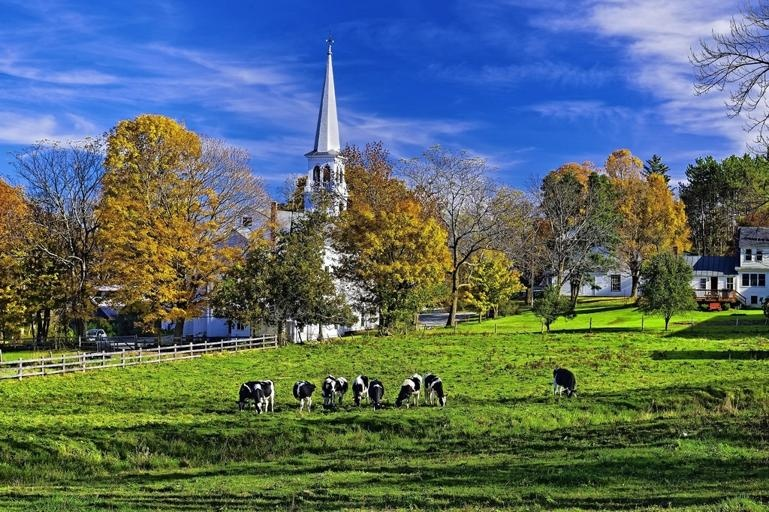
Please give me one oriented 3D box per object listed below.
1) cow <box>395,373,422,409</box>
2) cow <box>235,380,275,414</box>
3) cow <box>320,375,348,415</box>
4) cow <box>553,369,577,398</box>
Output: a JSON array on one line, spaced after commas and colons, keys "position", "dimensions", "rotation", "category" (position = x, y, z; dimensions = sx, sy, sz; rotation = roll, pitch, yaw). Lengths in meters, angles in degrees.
[{"position": [1.584, 9.139, 75.051], "dimensions": [1.456, 1.906, 2.453], "rotation": [5, 14, 28], "category": "cow"}, {"position": [-8.674, 9.508, 75.285], "dimensions": [2.330, 1.844, 2.134], "rotation": [-5, 13, -13], "category": "cow"}, {"position": [-3.537, 9.371, 76.066], "dimensions": [1.557, 2.028, 3.088], "rotation": [0, 13, 8], "category": "cow"}, {"position": [12.348, 8.675, 76.804], "dimensions": [1.532, 1.693, 3.386], "rotation": [0, 12, 8], "category": "cow"}]
